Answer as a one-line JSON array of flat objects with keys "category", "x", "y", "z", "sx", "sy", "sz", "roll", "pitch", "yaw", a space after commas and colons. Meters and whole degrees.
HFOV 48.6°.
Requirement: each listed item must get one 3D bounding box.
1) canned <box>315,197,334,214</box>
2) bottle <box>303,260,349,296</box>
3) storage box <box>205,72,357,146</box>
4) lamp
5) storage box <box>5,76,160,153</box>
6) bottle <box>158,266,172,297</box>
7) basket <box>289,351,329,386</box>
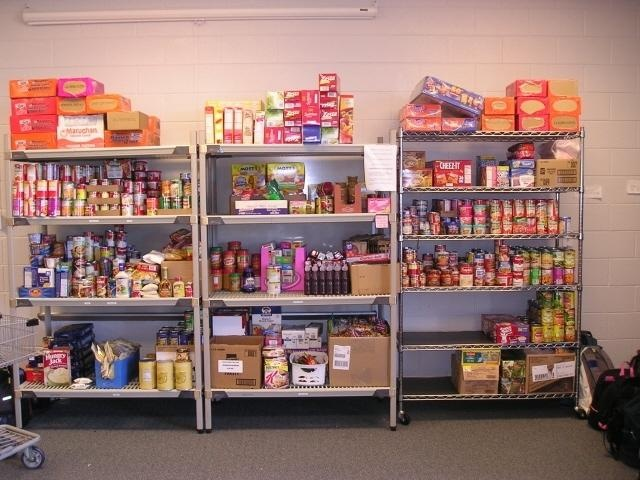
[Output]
[{"category": "canned", "x": 0.048, "y": -0.273, "z": 5.660, "sx": 0.138, "sy": 0.125, "sz": 0.156, "roll": 1, "pitch": 5, "yaw": 8}, {"category": "bottle", "x": 0.076, "y": 0.306, "z": 5.658, "sx": 0.405, "sy": 0.205, "sz": 0.307, "roll": 0, "pitch": 0, "yaw": -3}, {"category": "storage box", "x": -0.315, "y": -1.013, "z": 5.597, "sx": 1.168, "sy": 0.557, "sz": 0.199, "roll": -3, "pitch": 5, "yaw": -1}, {"category": "lamp", "x": -1.016, "y": -1.906, "z": 6.033, "sx": 2.963, "sy": 0.163, "sz": 0.078, "roll": -2, "pitch": 5, "yaw": 0}, {"category": "storage box", "x": -1.908, "y": -1.010, "z": 5.675, "sx": 1.092, "sy": 0.554, "sz": 0.186, "roll": -2, "pitch": 6, "yaw": 4}, {"category": "bottle", "x": -1.215, "y": 0.332, "z": 5.644, "sx": 0.109, "sy": 0.235, "sz": 0.130, "roll": -5, "pitch": 5, "yaw": -8}, {"category": "basket", "x": -0.078, "y": 1.038, "z": 5.709, "sx": 0.314, "sy": 0.241, "sz": 0.258, "roll": -3, "pitch": 5, "yaw": -2}]
